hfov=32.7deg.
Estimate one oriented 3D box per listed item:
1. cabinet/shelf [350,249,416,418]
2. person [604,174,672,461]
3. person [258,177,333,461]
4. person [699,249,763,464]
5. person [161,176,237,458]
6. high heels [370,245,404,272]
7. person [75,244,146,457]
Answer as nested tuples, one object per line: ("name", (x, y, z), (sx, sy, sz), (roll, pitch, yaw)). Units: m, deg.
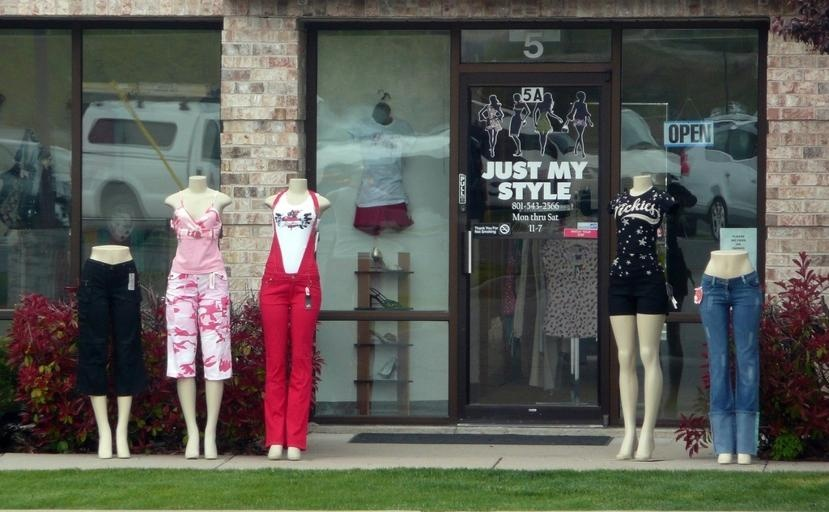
("cabinet/shelf", (-0.291, 0.804, 14.349), (0.657, 1.692, 0.196), (0, 13, -1))
("person", (2.109, 0.569, 13.033), (0.603, 2.613, 0.328), (-2, -2, 9))
("person", (-1.123, 0.577, 13.135), (0.624, 2.603, 0.262), (-1, -2, -7))
("person", (2.890, 0.920, 12.853), (0.581, 1.917, 0.219), (-2, -3, 11))
("person", (-2.000, 0.570, 13.085), (0.596, 2.599, 0.195), (-1, -2, -8))
("high heels", (-0.272, 0.028, 14.228), (0.298, 0.139, 0.220), (6, -5, 6))
("person", (-2.825, 0.890, 13.088), (0.591, 1.946, 0.261), (-1, -3, -14))
